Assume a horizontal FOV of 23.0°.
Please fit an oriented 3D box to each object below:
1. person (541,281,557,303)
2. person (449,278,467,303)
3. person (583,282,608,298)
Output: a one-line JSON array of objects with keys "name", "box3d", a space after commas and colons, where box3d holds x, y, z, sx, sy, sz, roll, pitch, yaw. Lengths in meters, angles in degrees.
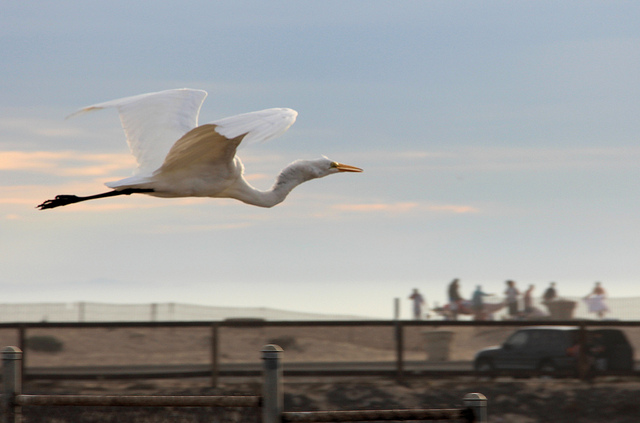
[{"name": "person", "box3d": [5.773, 2.039, 39.596, 0.374, 0.564, 1.123, 6, 4, 8]}, {"name": "person", "box3d": [3.577, 2.051, 40.875, 0.434, 0.616, 0.474, 7, 5, 16]}, {"name": "person", "box3d": [7.057, 1.996, 40.202, 0.288, 0.476, 1.912, 7, 5, 14]}]
